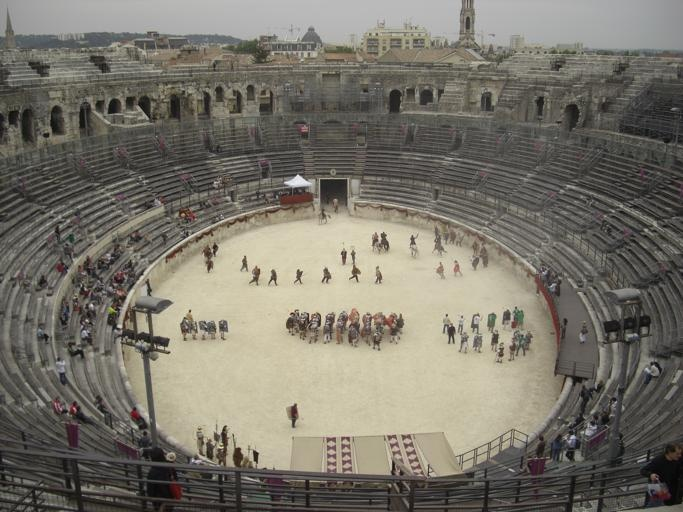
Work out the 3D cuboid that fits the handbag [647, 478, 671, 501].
[{"bbox_3d":[7.288,5.294,14.891,0.442,0.445,0.368,-16,-42,18],"label":"handbag"}]
